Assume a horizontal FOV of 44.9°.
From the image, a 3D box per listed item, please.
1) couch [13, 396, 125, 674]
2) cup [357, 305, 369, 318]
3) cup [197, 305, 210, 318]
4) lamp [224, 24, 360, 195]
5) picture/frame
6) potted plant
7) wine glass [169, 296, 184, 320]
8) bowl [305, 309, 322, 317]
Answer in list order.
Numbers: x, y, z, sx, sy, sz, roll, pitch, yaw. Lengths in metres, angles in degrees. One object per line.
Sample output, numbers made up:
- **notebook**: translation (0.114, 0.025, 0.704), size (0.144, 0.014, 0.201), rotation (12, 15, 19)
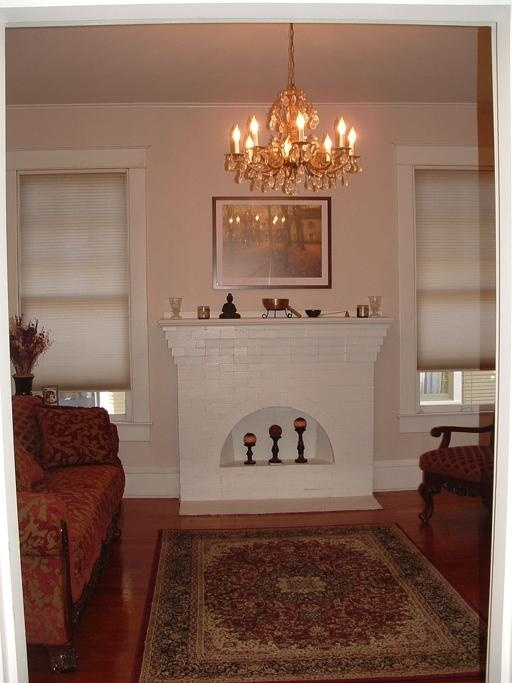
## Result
- **couch**: translation (-0.779, 0.799, 2.569), size (0.302, 0.425, 1.010), rotation (-2, 9, -10)
- **cup**: translation (0.728, -0.202, 4.317), size (0.109, 0.103, 0.079), rotation (0, -1, 4)
- **cup**: translation (-0.358, -0.201, 4.177), size (0.079, 0.076, 0.079), rotation (2, 0, 0)
- **lamp**: translation (0.157, -1.023, 2.676), size (0.524, 0.713, 0.530), rotation (-6, 7, -34)
- **picture/frame**: translation (0.108, -0.698, 4.379), size (0.889, 0.637, 0.027), rotation (-4, 11, -19)
- **potted plant**: translation (-1.438, 0.093, 3.994), size (0.261, 0.503, 0.813), rotation (-2, 4, -21)
- **wine glass**: translation (-0.547, -0.230, 4.233), size (0.094, 0.141, 0.251), rotation (-1, 4, -7)
- **bowl**: translation (0.385, -0.192, 4.292), size (0.067, 0.030, 0.068), rotation (0, -2, 0)
